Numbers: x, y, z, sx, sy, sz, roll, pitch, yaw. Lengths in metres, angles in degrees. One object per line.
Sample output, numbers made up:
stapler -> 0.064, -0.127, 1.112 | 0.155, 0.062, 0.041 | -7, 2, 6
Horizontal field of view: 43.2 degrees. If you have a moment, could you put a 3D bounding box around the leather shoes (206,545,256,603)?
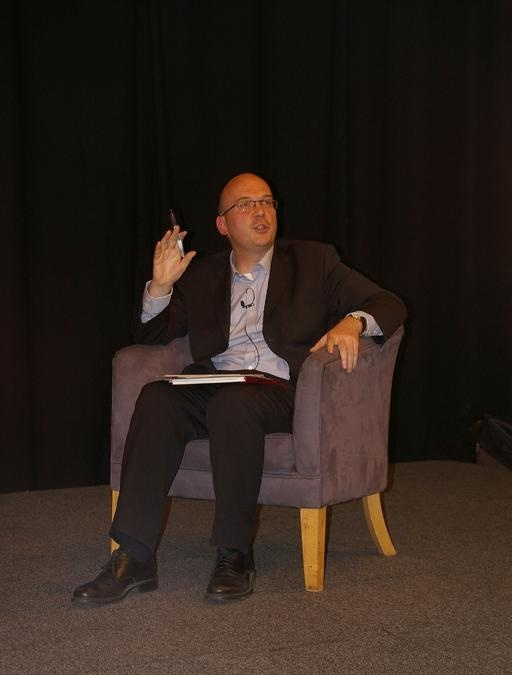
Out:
leather shoes -> -0.050, 0.494, 1.337 | 0.052, 0.080, 0.151 | -3, -13, 11

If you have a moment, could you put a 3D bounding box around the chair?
chair -> 0.034, 0.223, 1.730 | 0.581, 0.724, 0.676 | 1, -7, 3

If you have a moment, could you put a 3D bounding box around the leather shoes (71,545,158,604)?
leather shoes -> -0.297, 0.491, 1.400 | 0.074, 0.106, 0.194 | -1, -2, 41

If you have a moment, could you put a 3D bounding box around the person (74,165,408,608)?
person -> 0.008, 0.071, 1.673 | 0.657, 1.185, 0.630 | -1, -18, 13
